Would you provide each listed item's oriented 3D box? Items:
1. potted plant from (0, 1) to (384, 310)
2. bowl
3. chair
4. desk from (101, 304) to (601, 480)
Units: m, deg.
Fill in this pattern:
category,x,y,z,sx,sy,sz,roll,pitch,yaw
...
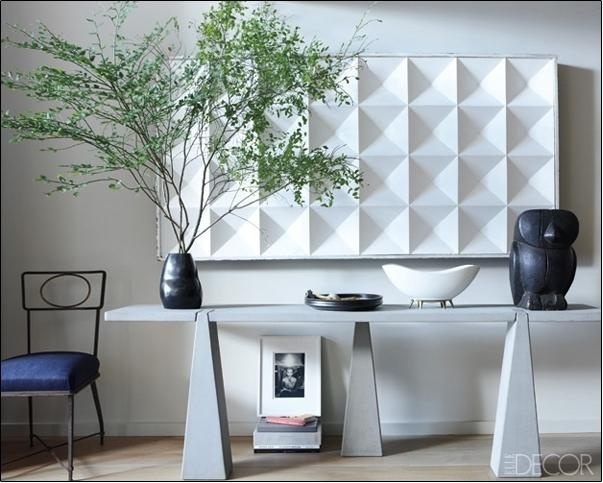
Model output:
category,x,y,z,sx,sy,sz,roll,pitch,yaw
potted plant,-0.593,-0.676,3.846,2.474,2.158,1.699,2,-7,-3
bowl,0.703,0.229,3.319,0.535,0.217,0.194,0,0,8
chair,-1.392,0.708,3.407,0.543,1.134,0.650,1,-7,-10
desk,0.305,0.783,3.255,2.312,0.909,0.360,-1,-7,1
